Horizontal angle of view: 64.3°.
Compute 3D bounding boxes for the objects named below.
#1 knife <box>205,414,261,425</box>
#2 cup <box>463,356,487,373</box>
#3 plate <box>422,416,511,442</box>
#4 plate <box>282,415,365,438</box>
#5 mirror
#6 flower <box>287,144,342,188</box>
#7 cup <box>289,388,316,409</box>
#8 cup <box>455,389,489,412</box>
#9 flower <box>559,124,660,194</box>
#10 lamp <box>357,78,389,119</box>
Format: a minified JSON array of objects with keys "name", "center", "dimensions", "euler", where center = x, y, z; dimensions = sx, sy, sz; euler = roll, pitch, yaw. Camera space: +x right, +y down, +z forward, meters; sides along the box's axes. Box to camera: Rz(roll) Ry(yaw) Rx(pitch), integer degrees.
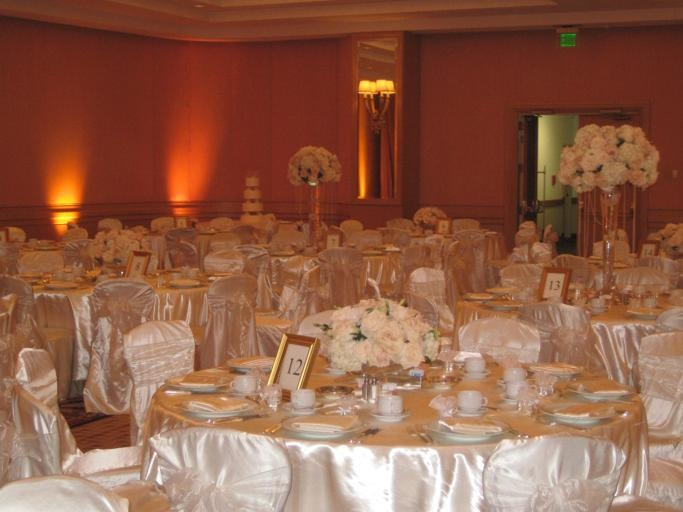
[{"name":"knife","center":[-0.393,0.594,1.974],"dimensions":[0.187,0.011,0.081],"euler":[-3,5,-11]},{"name":"cup","center":[0.634,0.516,2.620],"dimensions":[0.078,0.055,0.078],"euler":[-2,-4,0]},{"name":"plate","center":[0.418,0.584,1.870],"dimensions":[0.278,0.035,0.207],"euler":[-1,5,5]},{"name":"plate","center":[-0.066,0.581,1.881],"dimensions":[0.273,0.040,0.169],"euler":[-2,5,-3]},{"name":"mirror","center":[0.748,-2.630,11.853],"dimensions":[0.937,3.853,0.155],"euler":[-1,48,3]},{"name":"flower","center":[-0.379,-1.220,7.386],"dimensions":[0.611,0.429,0.583],"euler":[-3,6,-28]},{"name":"cup","center":[-0.147,0.536,2.073],"dimensions":[0.076,0.048,0.070],"euler":[2,3,0]},{"name":"cup","center":[0.500,0.548,2.082],"dimensions":[0.098,0.066,0.077],"euler":[2,-1,1]},{"name":"flower","center":[2.172,-0.831,4.489],"dimensions":[0.653,0.574,0.526],"euler":[3,8,38]},{"name":"lamp","center":[0.737,-3.423,11.719],"dimensions":[0.798,0.915,0.725],"euler":[1,-3,-5]}]
